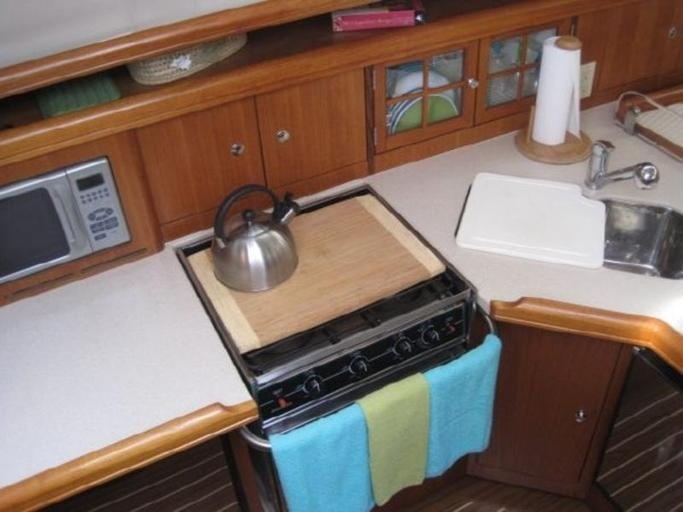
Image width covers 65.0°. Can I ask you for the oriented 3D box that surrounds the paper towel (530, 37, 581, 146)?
[{"bbox_3d":[0.816,-0.605,1.992,0.176,0.375,0.159,12,46,23],"label":"paper towel"}]

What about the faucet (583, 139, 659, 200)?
[{"bbox_3d":[0.972,-0.332,1.880,0.238,0.170,0.166,-2,41,7],"label":"faucet"}]

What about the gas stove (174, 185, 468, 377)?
[{"bbox_3d":[-0.079,0.155,1.805,0.833,0.323,0.696,-26,50,-28],"label":"gas stove"}]

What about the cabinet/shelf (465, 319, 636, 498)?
[{"bbox_3d":[0.690,0.475,1.738,0.369,0.698,0.433,19,49,20],"label":"cabinet/shelf"}]

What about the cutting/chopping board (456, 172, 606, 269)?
[{"bbox_3d":[0.644,-0.132,1.815,0.458,0.078,0.389,6,42,17],"label":"cutting/chopping board"}]
